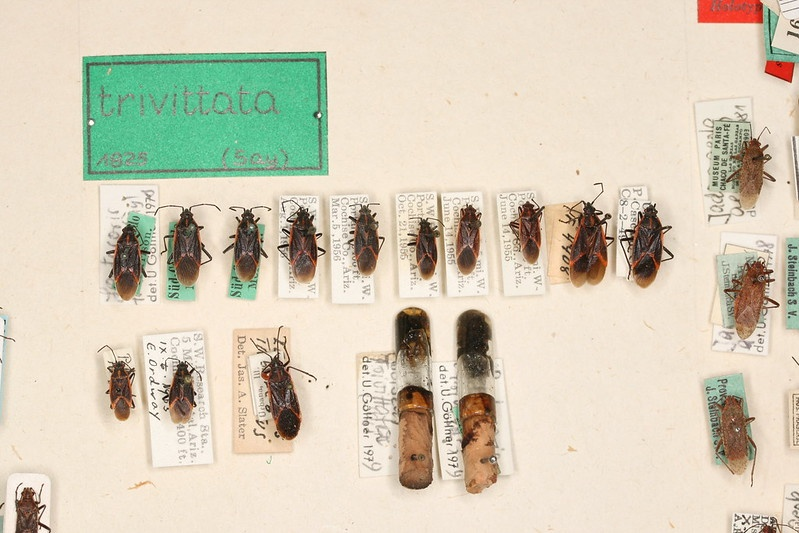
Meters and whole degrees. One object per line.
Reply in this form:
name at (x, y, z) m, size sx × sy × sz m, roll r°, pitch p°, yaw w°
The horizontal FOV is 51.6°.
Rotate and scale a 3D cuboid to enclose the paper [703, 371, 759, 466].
paper at (2.773, 1.295, 6.882) m, size 0.353 × 0.126 × 0.831 m, roll -4°, pitch 84°, yaw 7°
